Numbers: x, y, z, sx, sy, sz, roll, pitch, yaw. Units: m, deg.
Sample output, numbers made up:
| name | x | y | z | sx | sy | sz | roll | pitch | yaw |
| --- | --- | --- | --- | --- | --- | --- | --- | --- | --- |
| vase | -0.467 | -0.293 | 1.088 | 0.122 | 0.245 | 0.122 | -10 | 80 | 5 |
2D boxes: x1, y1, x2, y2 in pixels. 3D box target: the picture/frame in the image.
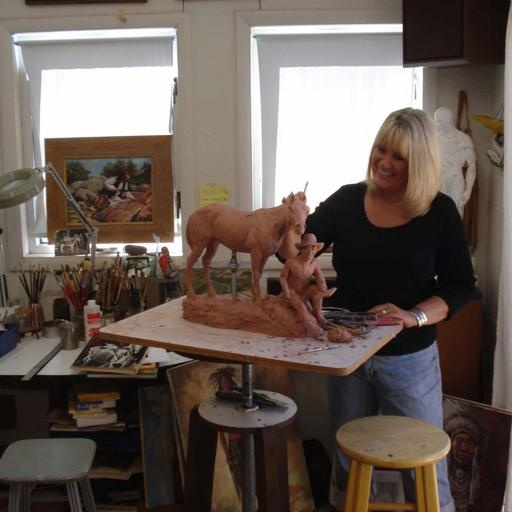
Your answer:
| name | x | y | z | sx | sy | sz | roll | pitch | yaw |
| --- | --- | --- | --- | --- | --- | --- | --- | --- | --- |
| picture/frame | -0.847 | -0.405 | 2.980 | 0.656 | 0.602 | 0.066 | -1 | 3 | 1 |

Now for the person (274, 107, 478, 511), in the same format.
| name | x | y | z | sx | sy | sz | roll | pitch | yaw |
| --- | --- | --- | --- | --- | --- | --- | --- | --- | --- |
| person | 0.472 | 0.281 | 1.992 | 0.478 | 1.617 | 0.589 | 6 | 12 | 22 |

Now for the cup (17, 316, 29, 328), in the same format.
| name | x | y | z | sx | sy | sz | roll | pitch | yaw |
| --- | --- | --- | --- | --- | --- | --- | --- | --- | --- |
| cup | -1.184 | 0.340 | 2.628 | 0.047 | 0.052 | 0.049 | 3 | 11 | -1 |

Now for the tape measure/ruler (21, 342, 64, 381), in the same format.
| name | x | y | z | sx | sy | sz | roll | pitch | yaw |
| --- | --- | --- | --- | --- | --- | --- | --- | --- | --- |
| tape measure/ruler | -0.933 | 0.467 | 2.287 | 0.056 | 0.059 | 0.429 | -4 | 9 | -1 |
